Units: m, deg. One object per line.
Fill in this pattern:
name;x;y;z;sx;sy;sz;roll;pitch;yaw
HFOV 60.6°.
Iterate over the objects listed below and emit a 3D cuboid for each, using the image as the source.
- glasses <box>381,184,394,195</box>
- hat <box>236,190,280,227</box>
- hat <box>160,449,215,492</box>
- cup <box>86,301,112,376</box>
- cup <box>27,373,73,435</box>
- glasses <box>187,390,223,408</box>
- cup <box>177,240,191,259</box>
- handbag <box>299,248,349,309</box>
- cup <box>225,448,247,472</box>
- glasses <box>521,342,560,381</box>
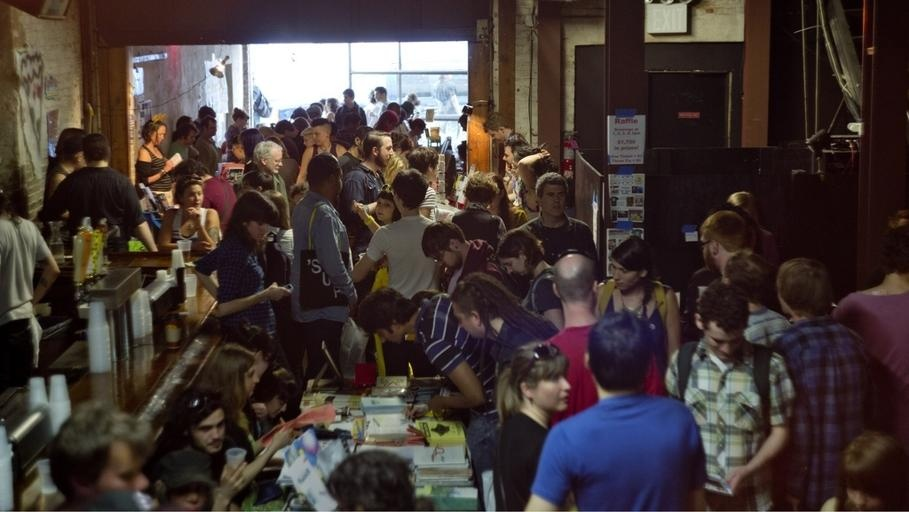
glasses;-0.701;-0.687;8.039;0.094;0.115;0.122;2;4;25
hat;-1.760;-0.423;6.999;0.337;0.321;0.261;2;10;5
hat;-1.847;1.458;5.298;0.331;0.237;0.243;-5;7;-35
cup;-2.804;0.637;6.088;0.150;0.578;0.148;-1;5;0
cup;-2.841;1.042;5.420;0.265;0.426;0.166;-3;5;-22
glasses;-1.777;1.012;5.445;0.131;0.137;0.042;-3;50;-16
cup;-2.747;-0.061;7.897;0.158;0.162;0.160;0;9;0
handbag;-1.250;0.212;7.288;0.494;0.554;0.209;-7;-3;-1
cup;-1.536;1.410;5.468;0.137;0.132;0.137;3;15;-1
glasses;0.580;0.701;5.133;0.067;0.217;0.214;41;-2;-4
